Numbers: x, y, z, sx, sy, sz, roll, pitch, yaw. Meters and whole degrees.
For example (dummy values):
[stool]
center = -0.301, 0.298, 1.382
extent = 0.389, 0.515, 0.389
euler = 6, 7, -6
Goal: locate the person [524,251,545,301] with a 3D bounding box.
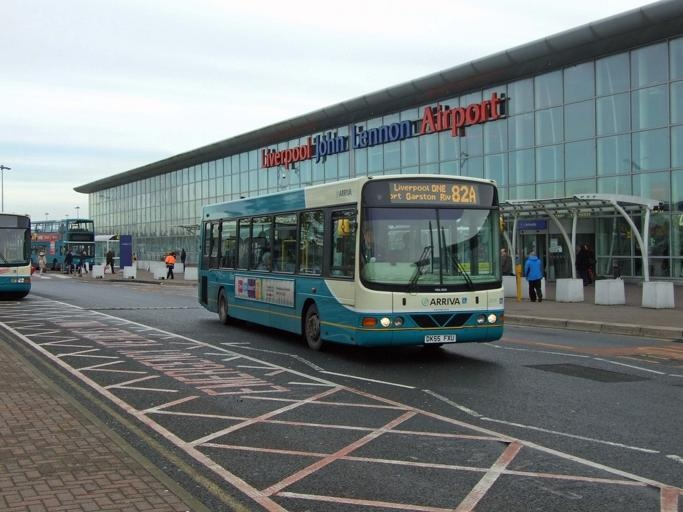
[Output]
[person]
center = 7.921, 0.850, 22.541
extent = 0.693, 2.112, 1.053
euler = 0, 0, 19
